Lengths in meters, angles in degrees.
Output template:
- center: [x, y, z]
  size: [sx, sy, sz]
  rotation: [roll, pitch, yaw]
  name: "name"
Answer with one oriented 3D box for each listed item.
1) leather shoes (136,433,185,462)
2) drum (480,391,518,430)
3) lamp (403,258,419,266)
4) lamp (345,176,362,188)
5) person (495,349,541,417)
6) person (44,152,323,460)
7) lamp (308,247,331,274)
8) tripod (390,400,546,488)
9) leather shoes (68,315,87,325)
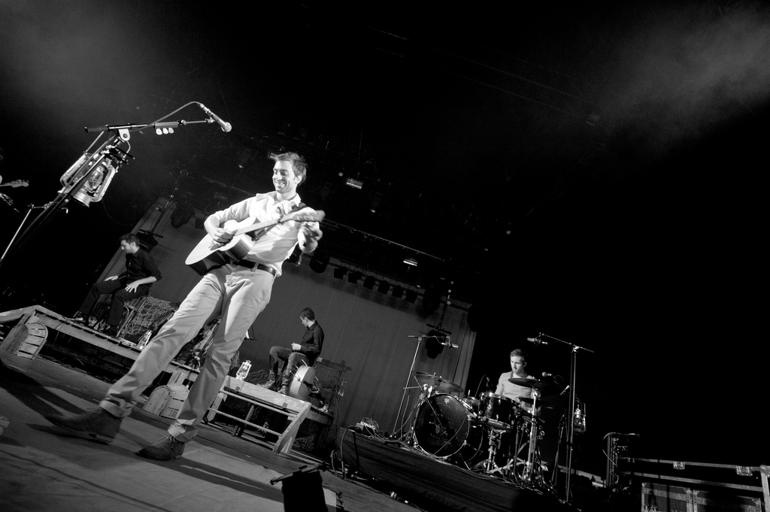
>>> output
- center: [-2.294, 1.959, 4.809]
  size: [0.438, 0.259, 0.201]
  rotation: [27, -24, -21]
  name: "leather shoes"
- center: [1.972, 2.619, 7.875]
  size: [0.561, 0.399, 0.564]
  rotation: [21, -16, 6]
  name: "drum"
- center: [0.764, 0.150, 13.683]
  size: [0.442, 0.132, 0.235]
  rotation: [12, -23, 10]
  name: "lamp"
- center: [-0.744, -1.781, 11.474]
  size: [0.428, 0.104, 0.341]
  rotation: [18, -22, -4]
  name: "lamp"
- center: [2.469, 2.414, 8.729]
  size: [0.871, 1.296, 0.786]
  rotation: [1, -33, 19]
  name: "person"
- center: [-1.823, 0.394, 5.220]
  size: [1.315, 3.589, 0.893]
  rotation: [29, -25, -21]
  name: "person"
- center: [-1.969, 0.164, 13.979]
  size: [0.559, 0.652, 0.725]
  rotation: [5, -4, 8]
  name: "lamp"
- center: [1.526, 2.991, 7.952]
  size: [1.480, 0.836, 1.771]
  rotation: [-4, -33, 34]
  name: "tripod"
- center: [-5.877, 1.204, 8.879]
  size: [0.300, 0.103, 0.217]
  rotation: [14, -5, 45]
  name: "leather shoes"
